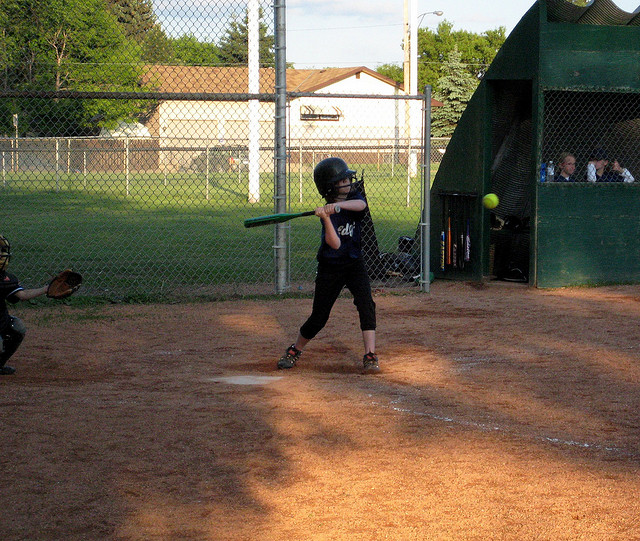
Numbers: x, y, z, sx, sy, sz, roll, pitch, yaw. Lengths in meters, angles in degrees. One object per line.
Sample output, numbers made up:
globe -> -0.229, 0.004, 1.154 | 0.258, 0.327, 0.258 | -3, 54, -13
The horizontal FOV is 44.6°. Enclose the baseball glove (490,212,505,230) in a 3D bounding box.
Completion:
baseball glove -> 2.263, -0.633, 9.937 | 0.171, 0.200, 0.403 | 3, 11, 13

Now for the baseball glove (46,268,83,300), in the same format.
baseball glove -> -1.851, 0.098, 5.588 | 0.141, 0.219, 0.241 | 11, 15, 44

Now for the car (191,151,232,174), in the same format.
car -> -4.423, -4.326, 31.042 | 1.343, 0.903, 5.379 | -1, 10, -10

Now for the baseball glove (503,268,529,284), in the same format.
baseball glove -> 2.402, 0.074, 9.587 | 0.279, 0.110, 0.162 | 4, -2, -23

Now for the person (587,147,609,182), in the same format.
person -> 3.516, -1.342, 9.839 | 0.257, 0.398, 1.007 | 4, 11, 18

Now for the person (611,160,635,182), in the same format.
person -> 3.861, -1.266, 9.936 | 0.289, 0.254, 0.777 | 5, 11, 20

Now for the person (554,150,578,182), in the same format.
person -> 3.047, -1.292, 9.629 | 0.268, 0.364, 1.035 | 4, 11, 17

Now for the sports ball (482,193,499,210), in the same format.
sports ball -> 1.975, -0.776, 8.980 | 0.184, 0.182, 0.177 | 9, 15, -3

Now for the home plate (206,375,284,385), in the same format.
home plate -> -0.538, 0.775, 5.495 | 0.514, 0.017, 0.246 | -1, 10, -11
